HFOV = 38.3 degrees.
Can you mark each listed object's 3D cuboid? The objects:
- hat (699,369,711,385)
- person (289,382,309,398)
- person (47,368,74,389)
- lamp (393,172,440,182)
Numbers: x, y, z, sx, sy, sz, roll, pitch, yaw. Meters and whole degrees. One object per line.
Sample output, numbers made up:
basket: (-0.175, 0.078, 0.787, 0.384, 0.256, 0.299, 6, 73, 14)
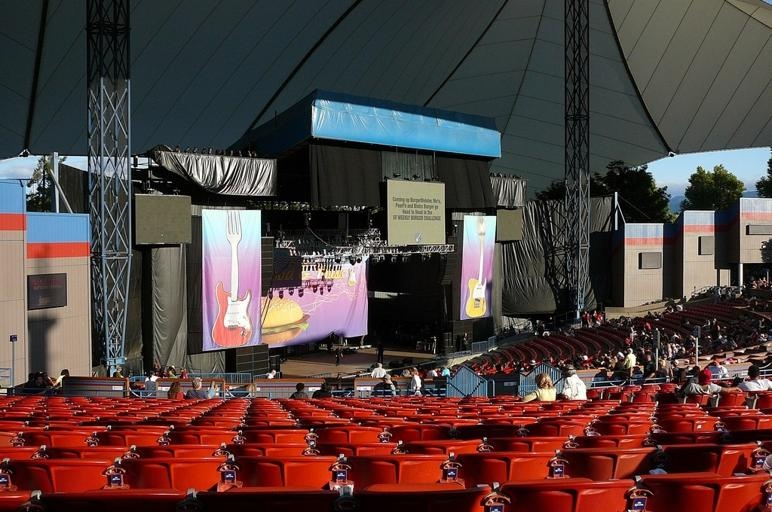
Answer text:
hat: (12.813, 4.820, 44.494, 0.451, 0.569, 0.616, 6, 11, 20)
person: (-3.930, 5.965, 49.352, 0.710, 0.636, 0.381, 5, 9, -4)
person: (-14.555, 5.503, 49.644, 0.906, 0.479, 1.399, 1, 0, -12)
lamp: (1.723, -4.563, 63.580, 2.462, 0.441, 0.394, -6, 4, -35)
